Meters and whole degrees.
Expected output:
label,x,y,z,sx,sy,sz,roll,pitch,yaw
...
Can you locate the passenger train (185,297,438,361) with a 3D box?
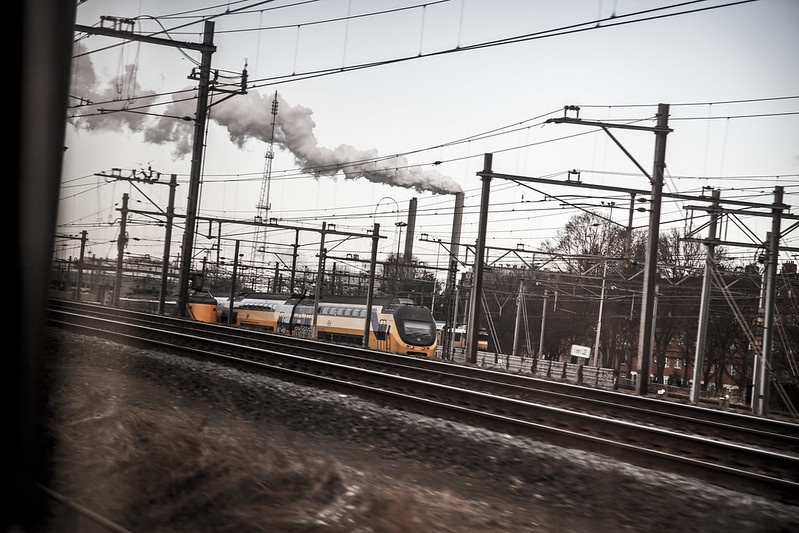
label,x,y,z,sx,sy,sz,roll,pitch,yaw
passenger train,-5.301,2.999,43.278,2.259,3.152,19.022,12,-8,-40
